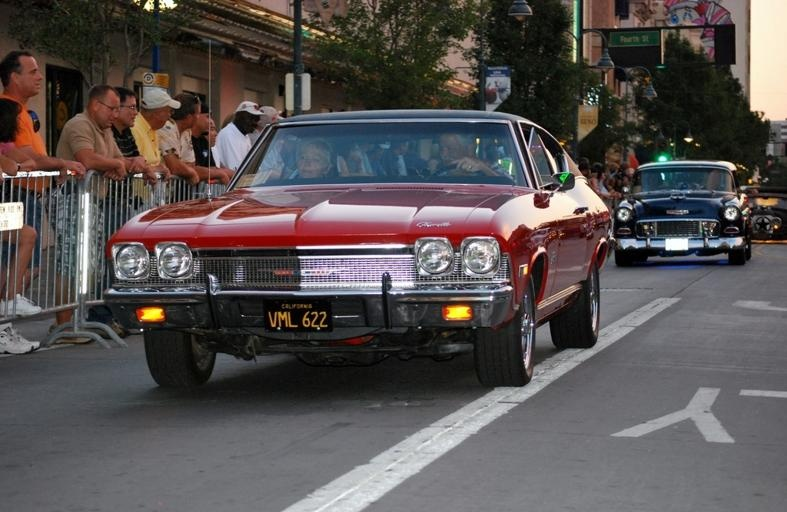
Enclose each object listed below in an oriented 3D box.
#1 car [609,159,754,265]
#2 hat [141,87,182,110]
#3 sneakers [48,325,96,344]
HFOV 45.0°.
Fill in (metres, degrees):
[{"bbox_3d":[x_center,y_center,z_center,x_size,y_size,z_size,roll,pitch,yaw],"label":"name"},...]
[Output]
[{"bbox_3d":[6.206,-1.046,20.179,1.916,1.338,3.367,-2,-3,17],"label":"car"},{"bbox_3d":[-2.784,-1.860,11.372,0.423,0.204,0.270,-1,14,-24],"label":"hat"},{"bbox_3d":[-3.409,0.823,9.916,0.318,0.100,0.283,2,-1,0],"label":"sneakers"}]
